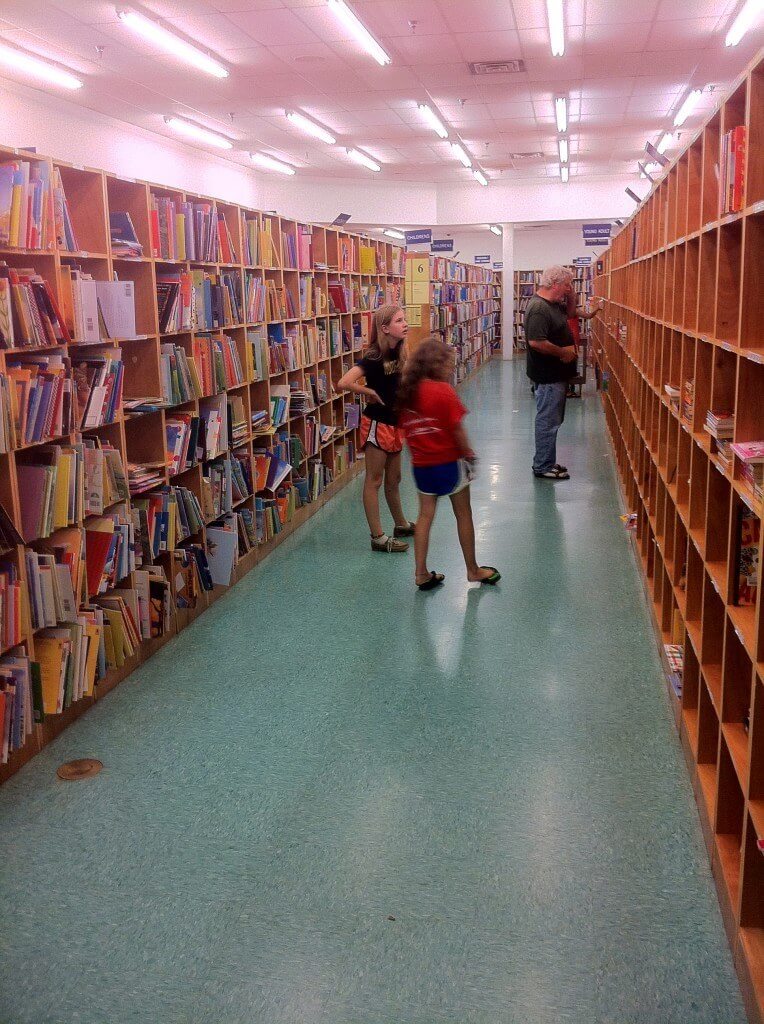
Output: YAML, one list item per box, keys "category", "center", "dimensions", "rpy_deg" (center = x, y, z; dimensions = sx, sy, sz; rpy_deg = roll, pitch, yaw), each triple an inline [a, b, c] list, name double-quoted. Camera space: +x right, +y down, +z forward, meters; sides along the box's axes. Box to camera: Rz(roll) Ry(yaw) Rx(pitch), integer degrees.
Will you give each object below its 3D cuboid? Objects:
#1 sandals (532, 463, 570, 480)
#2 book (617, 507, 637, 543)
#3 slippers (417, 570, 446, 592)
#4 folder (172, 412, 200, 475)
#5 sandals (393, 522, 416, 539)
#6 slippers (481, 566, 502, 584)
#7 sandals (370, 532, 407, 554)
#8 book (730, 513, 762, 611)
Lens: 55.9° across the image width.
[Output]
- category: "sandals"
  center: [1.784, -0.436, 7.600]
  dimensions: [0.314, 0.146, 0.160]
  rpy_deg: [0, 7, 15]
- category: "book"
  center: [1.898, 0.105, 5.552]
  dimensions: [0.119, 0.154, 0.369]
  rpy_deg: [-1, 2, 8]
- category: "slippers"
  center: [0.305, 0.413, 4.467]
  dimensions: [0.074, 0.076, 0.199]
  rpy_deg: [8, 17, 28]
- category: "folder"
  center: [-1.055, -0.375, 3.936]
  dimensions: [0.080, 0.259, 0.248]
  rpy_deg: [2, 7, 11]
- category: "sandals"
  center: [0.181, 0.144, 5.618]
  dimensions: [0.067, 0.087, 0.196]
  rpy_deg: [3, 10, 15]
- category: "slippers"
  center: [0.690, 0.396, 4.565]
  dimensions: [0.086, 0.105, 0.252]
  rpy_deg: [-2, 0, 8]
- category: "sandals"
  center: [0.060, 0.225, 5.322]
  dimensions: [0.235, 0.111, 0.131]
  rpy_deg: [3, 15, 21]
- category: "book"
  center: [0.815, 0.113, 1.619]
  dimensions: [0.064, 0.187, 0.195]
  rpy_deg: [0, -8, 14]
